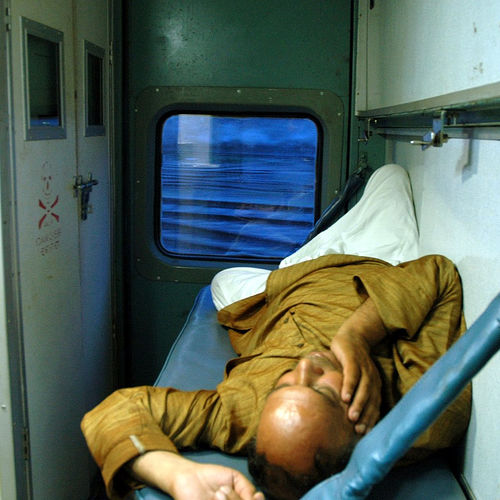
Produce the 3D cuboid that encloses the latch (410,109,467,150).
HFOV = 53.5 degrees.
[{"bbox_3d":[0.511,-0.338,1.384,0.104,0.093,0.143,2,14,5],"label":"latch"}]

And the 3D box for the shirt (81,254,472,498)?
[{"bbox_3d":[0.081,0.290,1.572,1.194,0.507,0.749,-6,14,-28],"label":"shirt"}]
